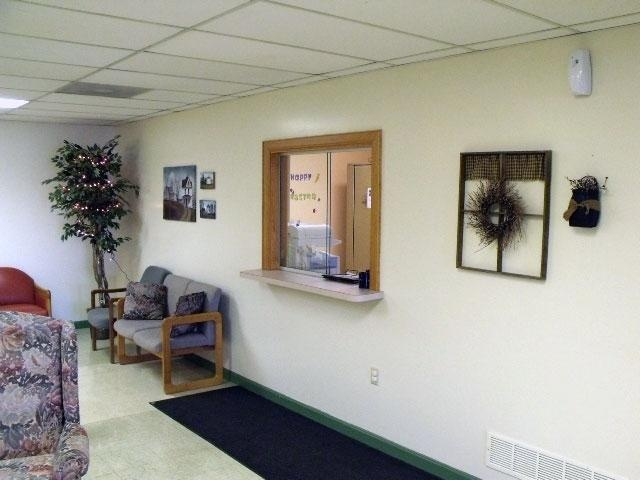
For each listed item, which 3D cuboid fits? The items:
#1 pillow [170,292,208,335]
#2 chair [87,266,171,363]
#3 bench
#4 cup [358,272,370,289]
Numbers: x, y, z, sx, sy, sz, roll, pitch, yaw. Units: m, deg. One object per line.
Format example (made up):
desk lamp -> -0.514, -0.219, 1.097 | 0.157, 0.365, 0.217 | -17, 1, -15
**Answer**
pillow -> -1.613, 0.921, 5.727 | 0.459, 0.554, 0.241 | -13, -30, 11
chair -> -2.919, 1.073, 7.168 | 1.139, 1.251, 1.088 | -1, 3, -29
bench -> -2.016, 1.168, 6.124 | 0.907, 1.200, 1.574 | -1, 3, -43
cup -> 0.411, 0.366, 4.361 | 0.125, 0.168, 0.080 | 3, 6, 27
